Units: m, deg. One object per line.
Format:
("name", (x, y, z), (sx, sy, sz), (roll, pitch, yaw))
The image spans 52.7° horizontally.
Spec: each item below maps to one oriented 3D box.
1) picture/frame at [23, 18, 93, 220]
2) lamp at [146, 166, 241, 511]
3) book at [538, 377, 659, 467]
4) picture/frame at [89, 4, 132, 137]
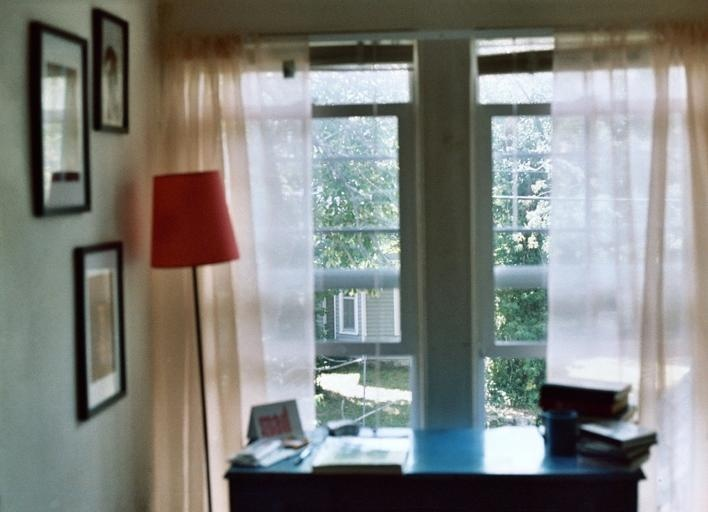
("picture/frame", (-0.959, -0.436, 2.336), (0.044, 0.603, 0.257), (-1, 4, 18))
("lamp", (-0.582, 0.349, 2.669), (0.305, 1.314, 0.298), (-3, 4, -15))
("book", (0.826, 0.557, 2.435), (0.282, 0.195, 0.292), (-1, 2, 37))
("picture/frame", (-0.864, -0.652, 2.545), (0.046, 0.418, 0.163), (0, 4, 20))
